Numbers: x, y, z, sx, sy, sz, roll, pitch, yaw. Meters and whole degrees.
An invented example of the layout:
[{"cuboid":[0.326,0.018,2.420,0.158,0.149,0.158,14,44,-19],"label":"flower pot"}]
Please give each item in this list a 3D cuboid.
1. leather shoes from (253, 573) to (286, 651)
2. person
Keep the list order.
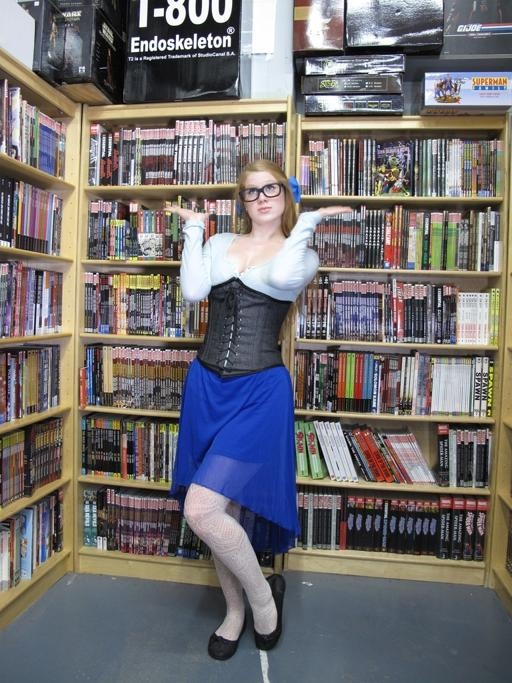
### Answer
[{"cuboid":[0.056,0.998,2.148,0.076,0.061,0.254,-2,29,3],"label":"leather shoes"},{"cuboid":[-0.016,0.233,2.061,0.568,1.725,0.458,-2,6,-21],"label":"person"}]
